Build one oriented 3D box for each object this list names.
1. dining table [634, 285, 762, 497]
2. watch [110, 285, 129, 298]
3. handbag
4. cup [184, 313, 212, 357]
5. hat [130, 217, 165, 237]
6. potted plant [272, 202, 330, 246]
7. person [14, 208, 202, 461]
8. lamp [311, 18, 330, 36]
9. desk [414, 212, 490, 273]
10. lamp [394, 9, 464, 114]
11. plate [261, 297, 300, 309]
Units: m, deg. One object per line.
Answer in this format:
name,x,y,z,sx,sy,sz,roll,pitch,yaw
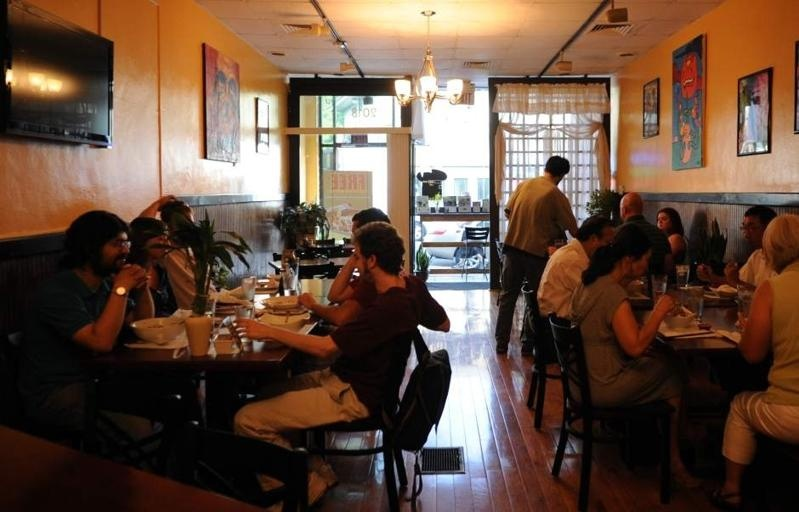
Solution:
dining table,1.808,0.858,3.745,0.711,1.248,0.641,-10,16,-30
watch,-1.559,0.200,3.387,0.072,0.045,0.067,3,-33,-18
handbag,0.111,0.835,3.587,0.372,0.722,0.503,0,14,5
cup,-1.101,0.457,3.469,0.195,0.226,0.197,2,2,0
hat,-1.451,-0.159,3.477,0.155,0.057,0.143,-3,-6,16
potted plant,-1.365,-0.458,8.521,0.661,0.568,0.651,0,-1,-12
person,-1.739,0.451,3.494,0.675,1.352,0.779,9,17,34
lamp,-0.857,-2.462,6.513,0.158,0.177,0.458,-2,15,-4
desk,1.043,-0.174,10.570,1.101,0.674,1.104,-1,0,-3
lamp,0.322,-2.262,6.937,0.795,1.209,0.791,1,9,15
plate,-0.807,0.322,4.154,0.134,0.031,0.133,1,9,15
